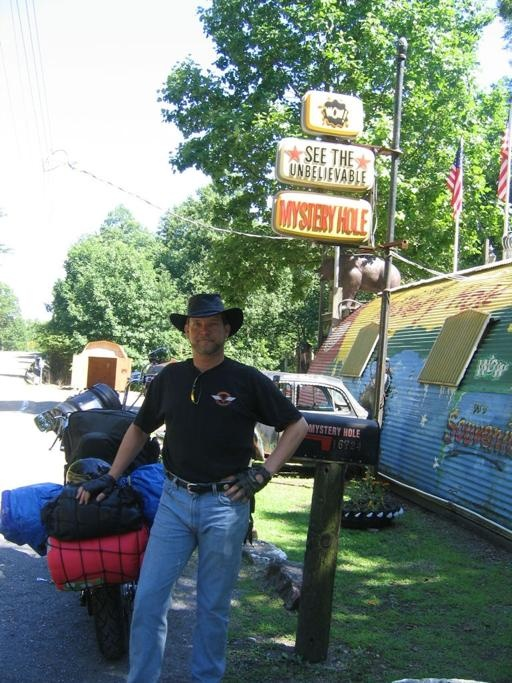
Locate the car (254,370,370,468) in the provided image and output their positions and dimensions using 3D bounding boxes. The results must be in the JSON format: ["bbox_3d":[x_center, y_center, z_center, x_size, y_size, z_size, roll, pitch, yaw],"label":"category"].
[{"bbox_3d":[0.950,1.157,10.245,1.861,1.354,1.503,4,-1,-10],"label":"car"}]

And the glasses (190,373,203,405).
[{"bbox_3d":[-0.272,0.218,2.910,0.062,0.095,0.099,7,-40,-5],"label":"glasses"}]

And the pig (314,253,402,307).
[{"bbox_3d":[2.864,-1.848,18.721,2.337,1.038,1.388,2,-2,18],"label":"pig"}]

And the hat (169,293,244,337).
[{"bbox_3d":[-0.236,-0.178,3.172,0.296,0.121,0.346,7,-4,40],"label":"hat"}]

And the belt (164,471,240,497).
[{"bbox_3d":[-0.261,0.616,2.863,0.336,0.076,0.082,2,-2,25],"label":"belt"}]
